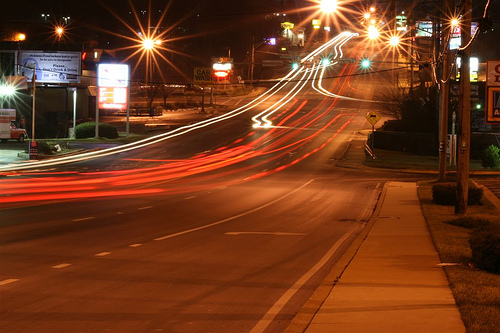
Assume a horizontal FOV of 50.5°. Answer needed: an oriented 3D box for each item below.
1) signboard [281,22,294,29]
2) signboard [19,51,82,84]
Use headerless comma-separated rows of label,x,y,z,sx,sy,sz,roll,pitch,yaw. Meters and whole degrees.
signboard,13.040,-51.695,193.184,5.674,1.346,4.901,2,30,3
signboard,-22.500,-11.353,60.140,6.442,3.578,0.795,0,5,-9
